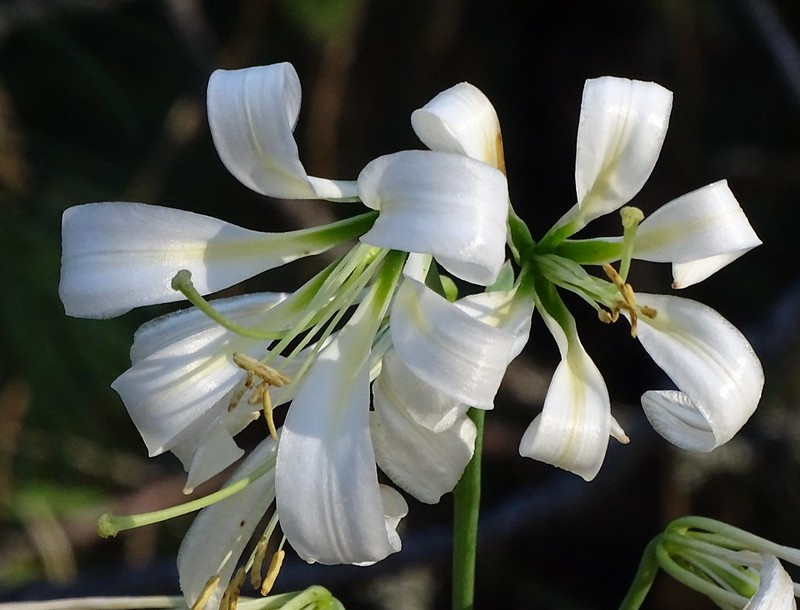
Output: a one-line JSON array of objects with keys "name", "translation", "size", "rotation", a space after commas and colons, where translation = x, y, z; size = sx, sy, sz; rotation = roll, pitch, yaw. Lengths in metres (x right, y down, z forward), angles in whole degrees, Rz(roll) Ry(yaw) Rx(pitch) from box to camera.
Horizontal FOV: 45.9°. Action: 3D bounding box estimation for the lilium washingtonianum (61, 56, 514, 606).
[{"name": "lilium washingtonianum", "translation": [-0.094, 0.033, 1.265], "size": [0.482, 0.581, 0.577], "rotation": [16, 43, 8]}]
